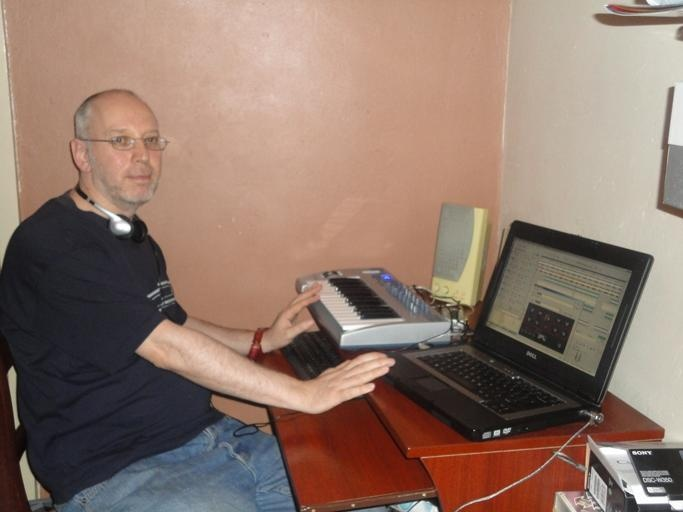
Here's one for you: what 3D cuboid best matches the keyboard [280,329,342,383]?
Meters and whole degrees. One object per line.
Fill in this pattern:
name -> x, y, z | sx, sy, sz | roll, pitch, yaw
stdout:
keyboard -> -0.100, 0.341, 1.897 | 0.124, 0.011, 0.202 | -26, 19, -5

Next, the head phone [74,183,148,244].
head phone -> -0.744, -0.138, 1.746 | 0.202, 0.078, 0.225 | 31, -5, 16

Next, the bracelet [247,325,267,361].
bracelet -> -0.296, 0.321, 1.991 | 0.031, 0.095, 0.069 | 12, -1, 4
